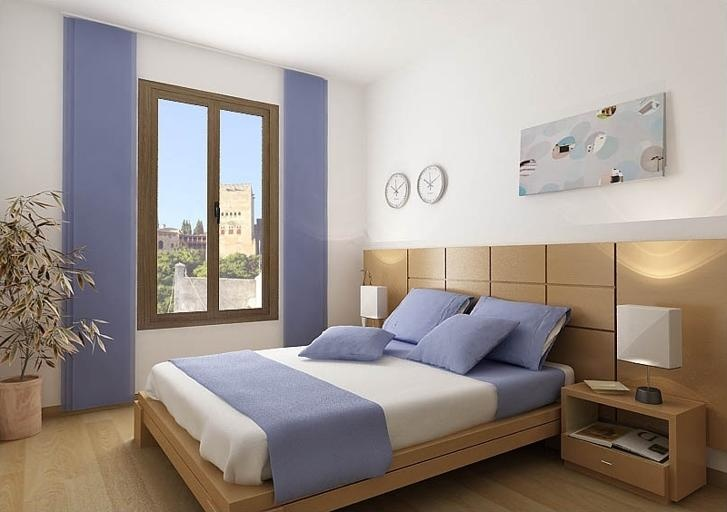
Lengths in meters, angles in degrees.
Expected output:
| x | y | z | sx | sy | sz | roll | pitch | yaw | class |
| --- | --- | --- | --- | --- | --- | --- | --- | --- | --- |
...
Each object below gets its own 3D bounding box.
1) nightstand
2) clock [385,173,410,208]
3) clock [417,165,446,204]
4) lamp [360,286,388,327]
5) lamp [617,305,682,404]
| x | y | z | sx | sy | sz | roll | pitch | yaw | class |
| --- | --- | --- | --- | --- | --- | --- | --- | --- | --- |
| 1.849 | 1.289 | 3.529 | 0.438 | 0.582 | 0.832 | -1 | -1 | -30 | nightstand |
| 0.367 | -0.695 | 5.395 | 0.046 | 0.361 | 0.359 | -2 | 3 | -37 | clock |
| 0.682 | -0.708 | 5.012 | 0.039 | 0.376 | 0.357 | -2 | 3 | -44 | clock |
| 0.121 | 0.520 | 5.193 | 0.118 | 0.346 | 0.363 | 4 | -16 | -26 | lamp |
| 1.862 | 0.674 | 3.333 | 0.334 | 0.617 | 0.142 | 5 | -19 | 11 | lamp |
